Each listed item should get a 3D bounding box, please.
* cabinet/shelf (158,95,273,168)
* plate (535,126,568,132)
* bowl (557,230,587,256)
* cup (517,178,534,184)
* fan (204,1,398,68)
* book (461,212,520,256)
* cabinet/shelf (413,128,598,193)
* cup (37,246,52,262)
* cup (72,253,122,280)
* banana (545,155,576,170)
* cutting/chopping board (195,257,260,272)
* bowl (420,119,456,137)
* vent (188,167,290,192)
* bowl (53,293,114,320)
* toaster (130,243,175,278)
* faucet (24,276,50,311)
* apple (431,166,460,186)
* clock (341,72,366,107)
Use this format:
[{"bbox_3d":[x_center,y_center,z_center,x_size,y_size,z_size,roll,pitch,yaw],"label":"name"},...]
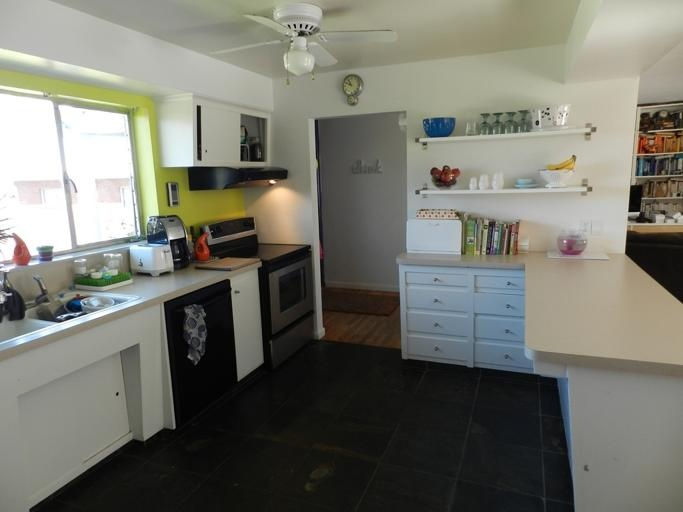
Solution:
[{"bbox_3d":[-1.120,-1.116,4.341,0.346,0.617,1.085,7,16,34],"label":"cabinet/shelf"},{"bbox_3d":[1.759,-1.061,3.968,0.257,0.043,0.049,4,15,24],"label":"plate"},{"bbox_3d":[1.934,-0.112,3.957,0.206,0.209,0.212,-1,3,0],"label":"bowl"},{"bbox_3d":[1.596,-0.647,4.135,0.084,0.040,0.086,-1,7,0],"label":"cup"},{"bbox_3d":[-0.137,-1.482,3.325,0.833,0.410,1.005,-4,14,-8],"label":"fan"},{"bbox_3d":[1.315,-0.167,4.203,0.503,0.411,0.316,2,4,14],"label":"book"},{"bbox_3d":[1.464,-0.867,4.174,1.399,0.506,0.384,4,15,25],"label":"cabinet/shelf"},{"bbox_3d":[-2.060,-0.018,3.299,0.097,0.103,0.100,2,4,0],"label":"cup"},{"bbox_3d":[-1.784,0.072,3.493,0.247,0.119,0.156,-4,10,-34],"label":"cup"},{"bbox_3d":[1.879,-0.787,4.017,0.277,0.114,0.200,0,14,10],"label":"banana"},{"bbox_3d":[-0.993,0.062,4.070,0.452,0.041,0.463,5,16,29],"label":"cutting/chopping board"},{"bbox_3d":[0.884,-1.111,4.253,0.195,0.105,0.199,-1,5,0],"label":"bowl"},{"bbox_3d":[-0.958,-0.753,4.525,0.935,0.238,0.454,-15,18,-42],"label":"vent"},{"bbox_3d":[-1.757,0.338,3.230,0.208,0.088,0.254,3,12,-18],"label":"bowl"},{"bbox_3d":[-1.533,0.030,3.814,0.319,0.240,0.187,2,9,31],"label":"toaster"},{"bbox_3d":[-2.031,0.231,3.151,0.139,0.209,0.121,-11,16,-33],"label":"faucet"},{"bbox_3d":[0.940,-0.701,4.328,0.191,0.148,0.210,2,3,-4],"label":"apple"},{"bbox_3d":[0.118,-1.578,4.516,0.188,0.280,0.040,1,13,13],"label":"clock"}]
